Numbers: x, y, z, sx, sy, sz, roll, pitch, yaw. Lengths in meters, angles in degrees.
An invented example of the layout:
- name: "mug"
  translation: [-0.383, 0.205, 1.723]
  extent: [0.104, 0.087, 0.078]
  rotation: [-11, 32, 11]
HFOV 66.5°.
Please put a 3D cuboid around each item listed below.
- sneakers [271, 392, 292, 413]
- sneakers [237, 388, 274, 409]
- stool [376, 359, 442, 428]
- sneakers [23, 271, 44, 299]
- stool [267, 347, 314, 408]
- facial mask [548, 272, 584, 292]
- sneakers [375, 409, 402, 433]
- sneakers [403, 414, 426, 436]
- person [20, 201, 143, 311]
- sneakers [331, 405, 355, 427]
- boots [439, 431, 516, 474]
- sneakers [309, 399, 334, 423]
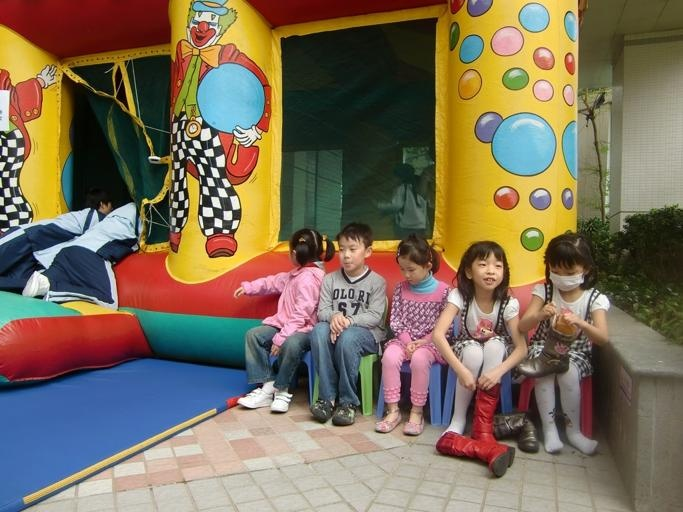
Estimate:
- name: "sneakers"
  translation: [-0.387, 0.926, 3.302]
  extent: [0.064, 0.080, 0.187]
  rotation: [1, -12, 8]
- name: "sneakers"
  translation: [-0.563, 0.923, 3.427]
  extent: [0.236, 0.113, 0.092]
  rotation: [6, -7, -41]
- name: "stool"
  translation: [0.485, 0.861, 3.297]
  extent: [0.332, 0.312, 0.366]
  rotation: [-1, -15, 13]
- name: "sneakers"
  translation: [-2.459, 0.232, 4.211]
  extent: [0.136, 0.206, 0.089]
  rotation: [13, -11, -1]
- name: "stool"
  translation: [-0.266, 0.822, 3.526]
  extent: [0.312, 0.318, 0.305]
  rotation: [-2, -8, -28]
- name: "facial mask"
  translation: [1.211, 0.136, 2.813]
  extent: [0.167, 0.126, 0.126]
  rotation: [6, 12, 28]
- name: "sneakers"
  translation: [0.275, 0.975, 3.087]
  extent: [0.069, 0.091, 0.199]
  rotation: [-5, -8, 28]
- name: "sneakers"
  translation: [0.415, 0.967, 2.994]
  extent: [0.112, 0.099, 0.084]
  rotation: [0, 10, -2]
- name: "person"
  translation: [-2.135, 0.003, 4.498]
  extent: [0.544, 0.348, 0.894]
  rotation: [23, 36, 5]
- name: "sneakers"
  translation: [0.014, 0.956, 3.149]
  extent: [0.124, 0.091, 0.122]
  rotation: [2, 11, 7]
- name: "boots"
  translation: [0.662, 0.991, 2.660]
  extent: [0.229, 0.104, 0.182]
  rotation: [2, 20, 28]
- name: "sneakers"
  translation: [-0.127, 0.928, 3.158]
  extent: [0.078, 0.088, 0.169]
  rotation: [6, -29, 20]
